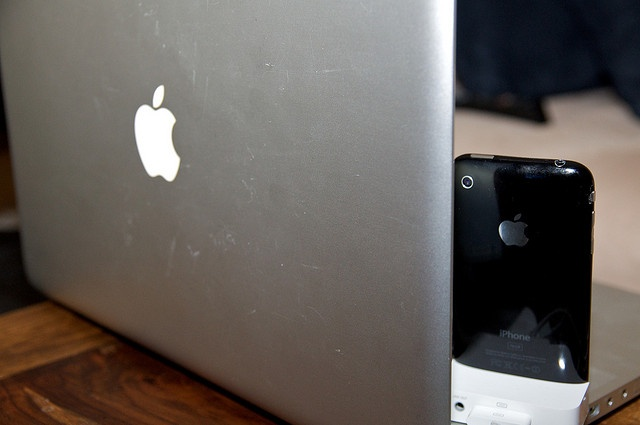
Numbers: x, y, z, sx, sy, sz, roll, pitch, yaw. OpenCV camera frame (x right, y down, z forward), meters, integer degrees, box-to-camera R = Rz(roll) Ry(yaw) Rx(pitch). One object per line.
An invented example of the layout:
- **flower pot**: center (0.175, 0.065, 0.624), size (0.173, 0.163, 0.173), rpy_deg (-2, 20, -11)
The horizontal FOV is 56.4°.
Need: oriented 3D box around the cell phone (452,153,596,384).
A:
- **cell phone**: center (0.236, 0.073, 0.717), size (0.160, 0.299, 0.032), rpy_deg (4, 27, 26)
